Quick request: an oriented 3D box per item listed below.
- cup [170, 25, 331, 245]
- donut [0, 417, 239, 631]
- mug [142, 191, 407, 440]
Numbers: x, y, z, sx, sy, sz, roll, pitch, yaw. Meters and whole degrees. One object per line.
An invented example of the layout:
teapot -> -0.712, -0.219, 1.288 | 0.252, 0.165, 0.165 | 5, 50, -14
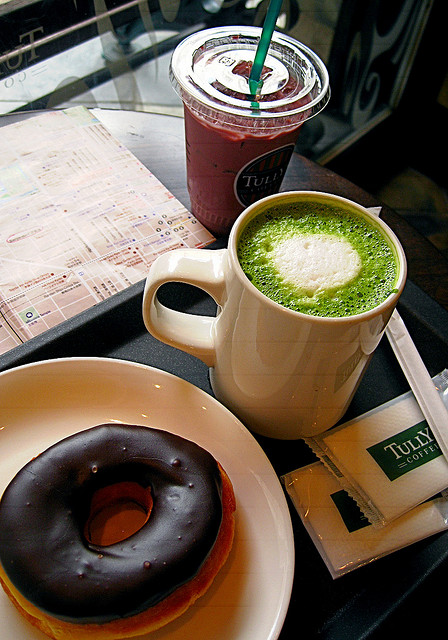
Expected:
cup -> 0.007, -0.212, 0.646 | 0.183, 0.195, 0.173 | -10, 36, 7
donut -> -0.081, 0.165, 0.429 | 0.188, 0.056, 0.160 | 7, 46, 3
mug -> 0.031, -0.001, 0.492 | 0.230, 0.195, 0.137 | 1, 52, -4
